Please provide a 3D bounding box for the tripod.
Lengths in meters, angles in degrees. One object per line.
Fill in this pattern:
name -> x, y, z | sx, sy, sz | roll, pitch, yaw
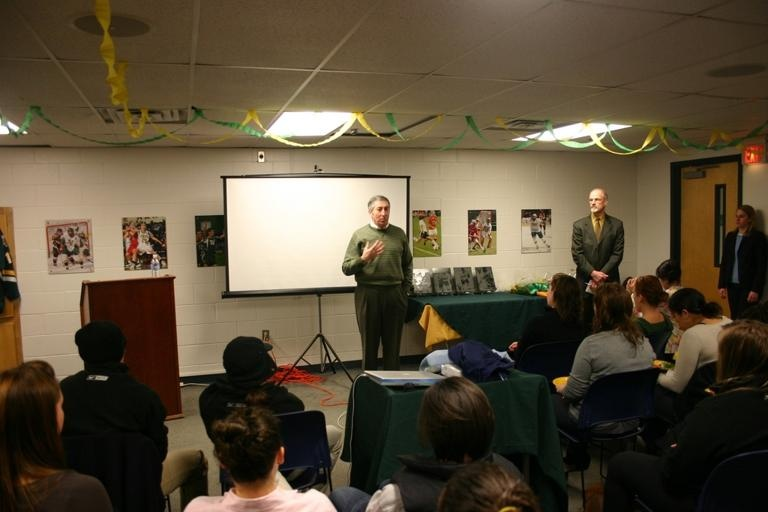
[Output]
tripod -> -0.760, 0.992, 6.521 | 0.980, 1.376, 0.872 | 0, -1, -18

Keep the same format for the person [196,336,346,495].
person -> -0.752, 1.066, 3.660 | 0.664, 1.032, 0.907 | -2, -3, 20

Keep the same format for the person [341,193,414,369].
person -> -0.046, 0.404, 5.522 | 0.691, 1.468, 0.356 | -3, 3, -2

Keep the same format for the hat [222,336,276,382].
hat -> -0.839, 0.638, 3.378 | 0.301, 0.274, 0.195 | -4, 4, -17

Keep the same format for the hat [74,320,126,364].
hat -> -1.693, 0.508, 3.288 | 0.295, 0.227, 0.212 | -1, 6, -31
